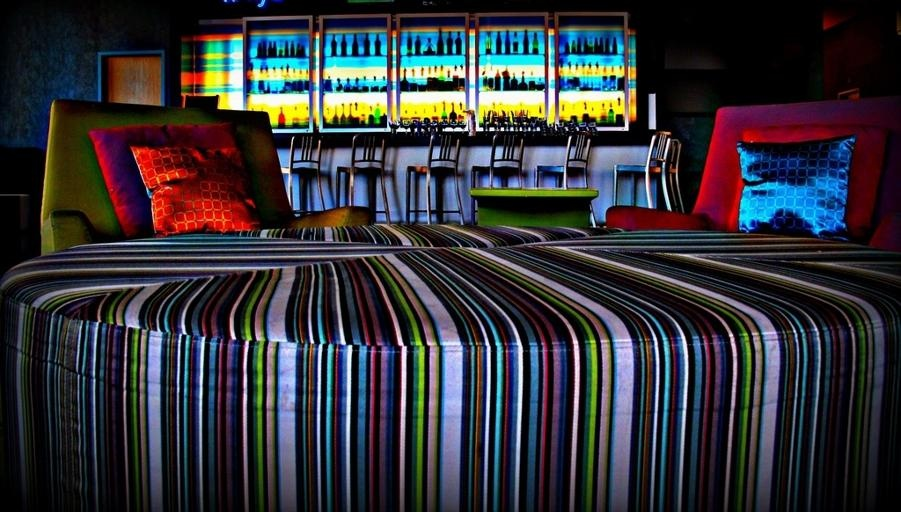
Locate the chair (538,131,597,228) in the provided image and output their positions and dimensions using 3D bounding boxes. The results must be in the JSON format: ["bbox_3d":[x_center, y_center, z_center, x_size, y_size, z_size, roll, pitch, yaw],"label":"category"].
[{"bbox_3d":[1.275,-0.891,9.495,0.393,0.882,0.451,-9,19,-39],"label":"chair"}]

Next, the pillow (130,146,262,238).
[{"bbox_3d":[-1.748,-0.449,5.930,0.720,0.736,0.226,-3,-21,-27],"label":"pillow"}]

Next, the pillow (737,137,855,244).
[{"bbox_3d":[2.472,-0.437,6.069,0.757,0.725,0.272,2,-9,14],"label":"pillow"}]

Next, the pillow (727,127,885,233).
[{"bbox_3d":[2.517,-0.607,6.568,0.927,0.286,0.983,-2,-8,4],"label":"pillow"}]

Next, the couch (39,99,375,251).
[{"bbox_3d":[-1.846,-0.402,6.208,1.946,1.213,1.384,-3,14,-41],"label":"couch"}]

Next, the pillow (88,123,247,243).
[{"bbox_3d":[-1.907,-0.512,5.937,0.897,0.936,0.286,-11,-14,-20],"label":"pillow"}]

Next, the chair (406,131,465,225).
[{"bbox_3d":[-0.162,-0.849,9.482,0.662,0.992,0.821,0,8,0],"label":"chair"}]
